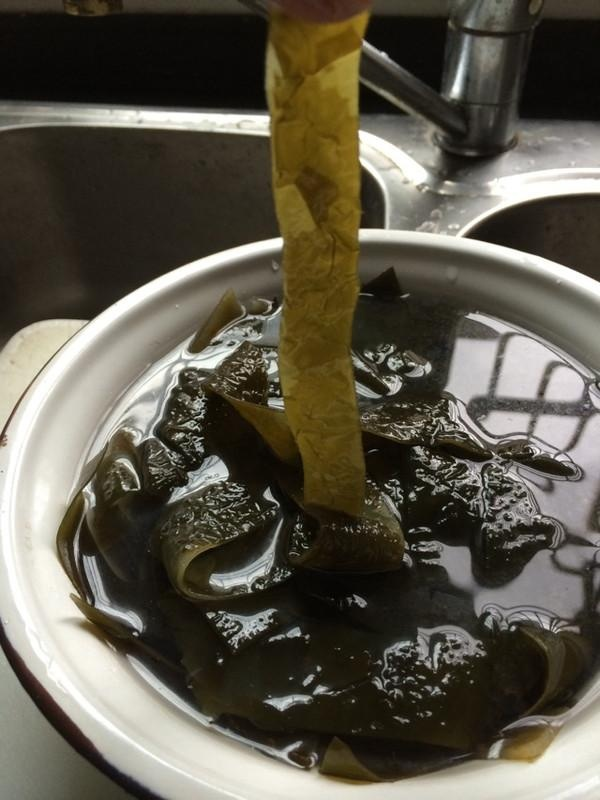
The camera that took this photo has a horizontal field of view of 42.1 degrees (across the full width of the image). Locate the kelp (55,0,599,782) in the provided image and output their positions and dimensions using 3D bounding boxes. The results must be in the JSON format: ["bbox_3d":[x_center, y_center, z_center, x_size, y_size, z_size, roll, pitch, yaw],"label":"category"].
[{"bbox_3d":[0.068,0.038,0.529,0.411,0.086,0.391,-10,58,26],"label":"kelp"}]
